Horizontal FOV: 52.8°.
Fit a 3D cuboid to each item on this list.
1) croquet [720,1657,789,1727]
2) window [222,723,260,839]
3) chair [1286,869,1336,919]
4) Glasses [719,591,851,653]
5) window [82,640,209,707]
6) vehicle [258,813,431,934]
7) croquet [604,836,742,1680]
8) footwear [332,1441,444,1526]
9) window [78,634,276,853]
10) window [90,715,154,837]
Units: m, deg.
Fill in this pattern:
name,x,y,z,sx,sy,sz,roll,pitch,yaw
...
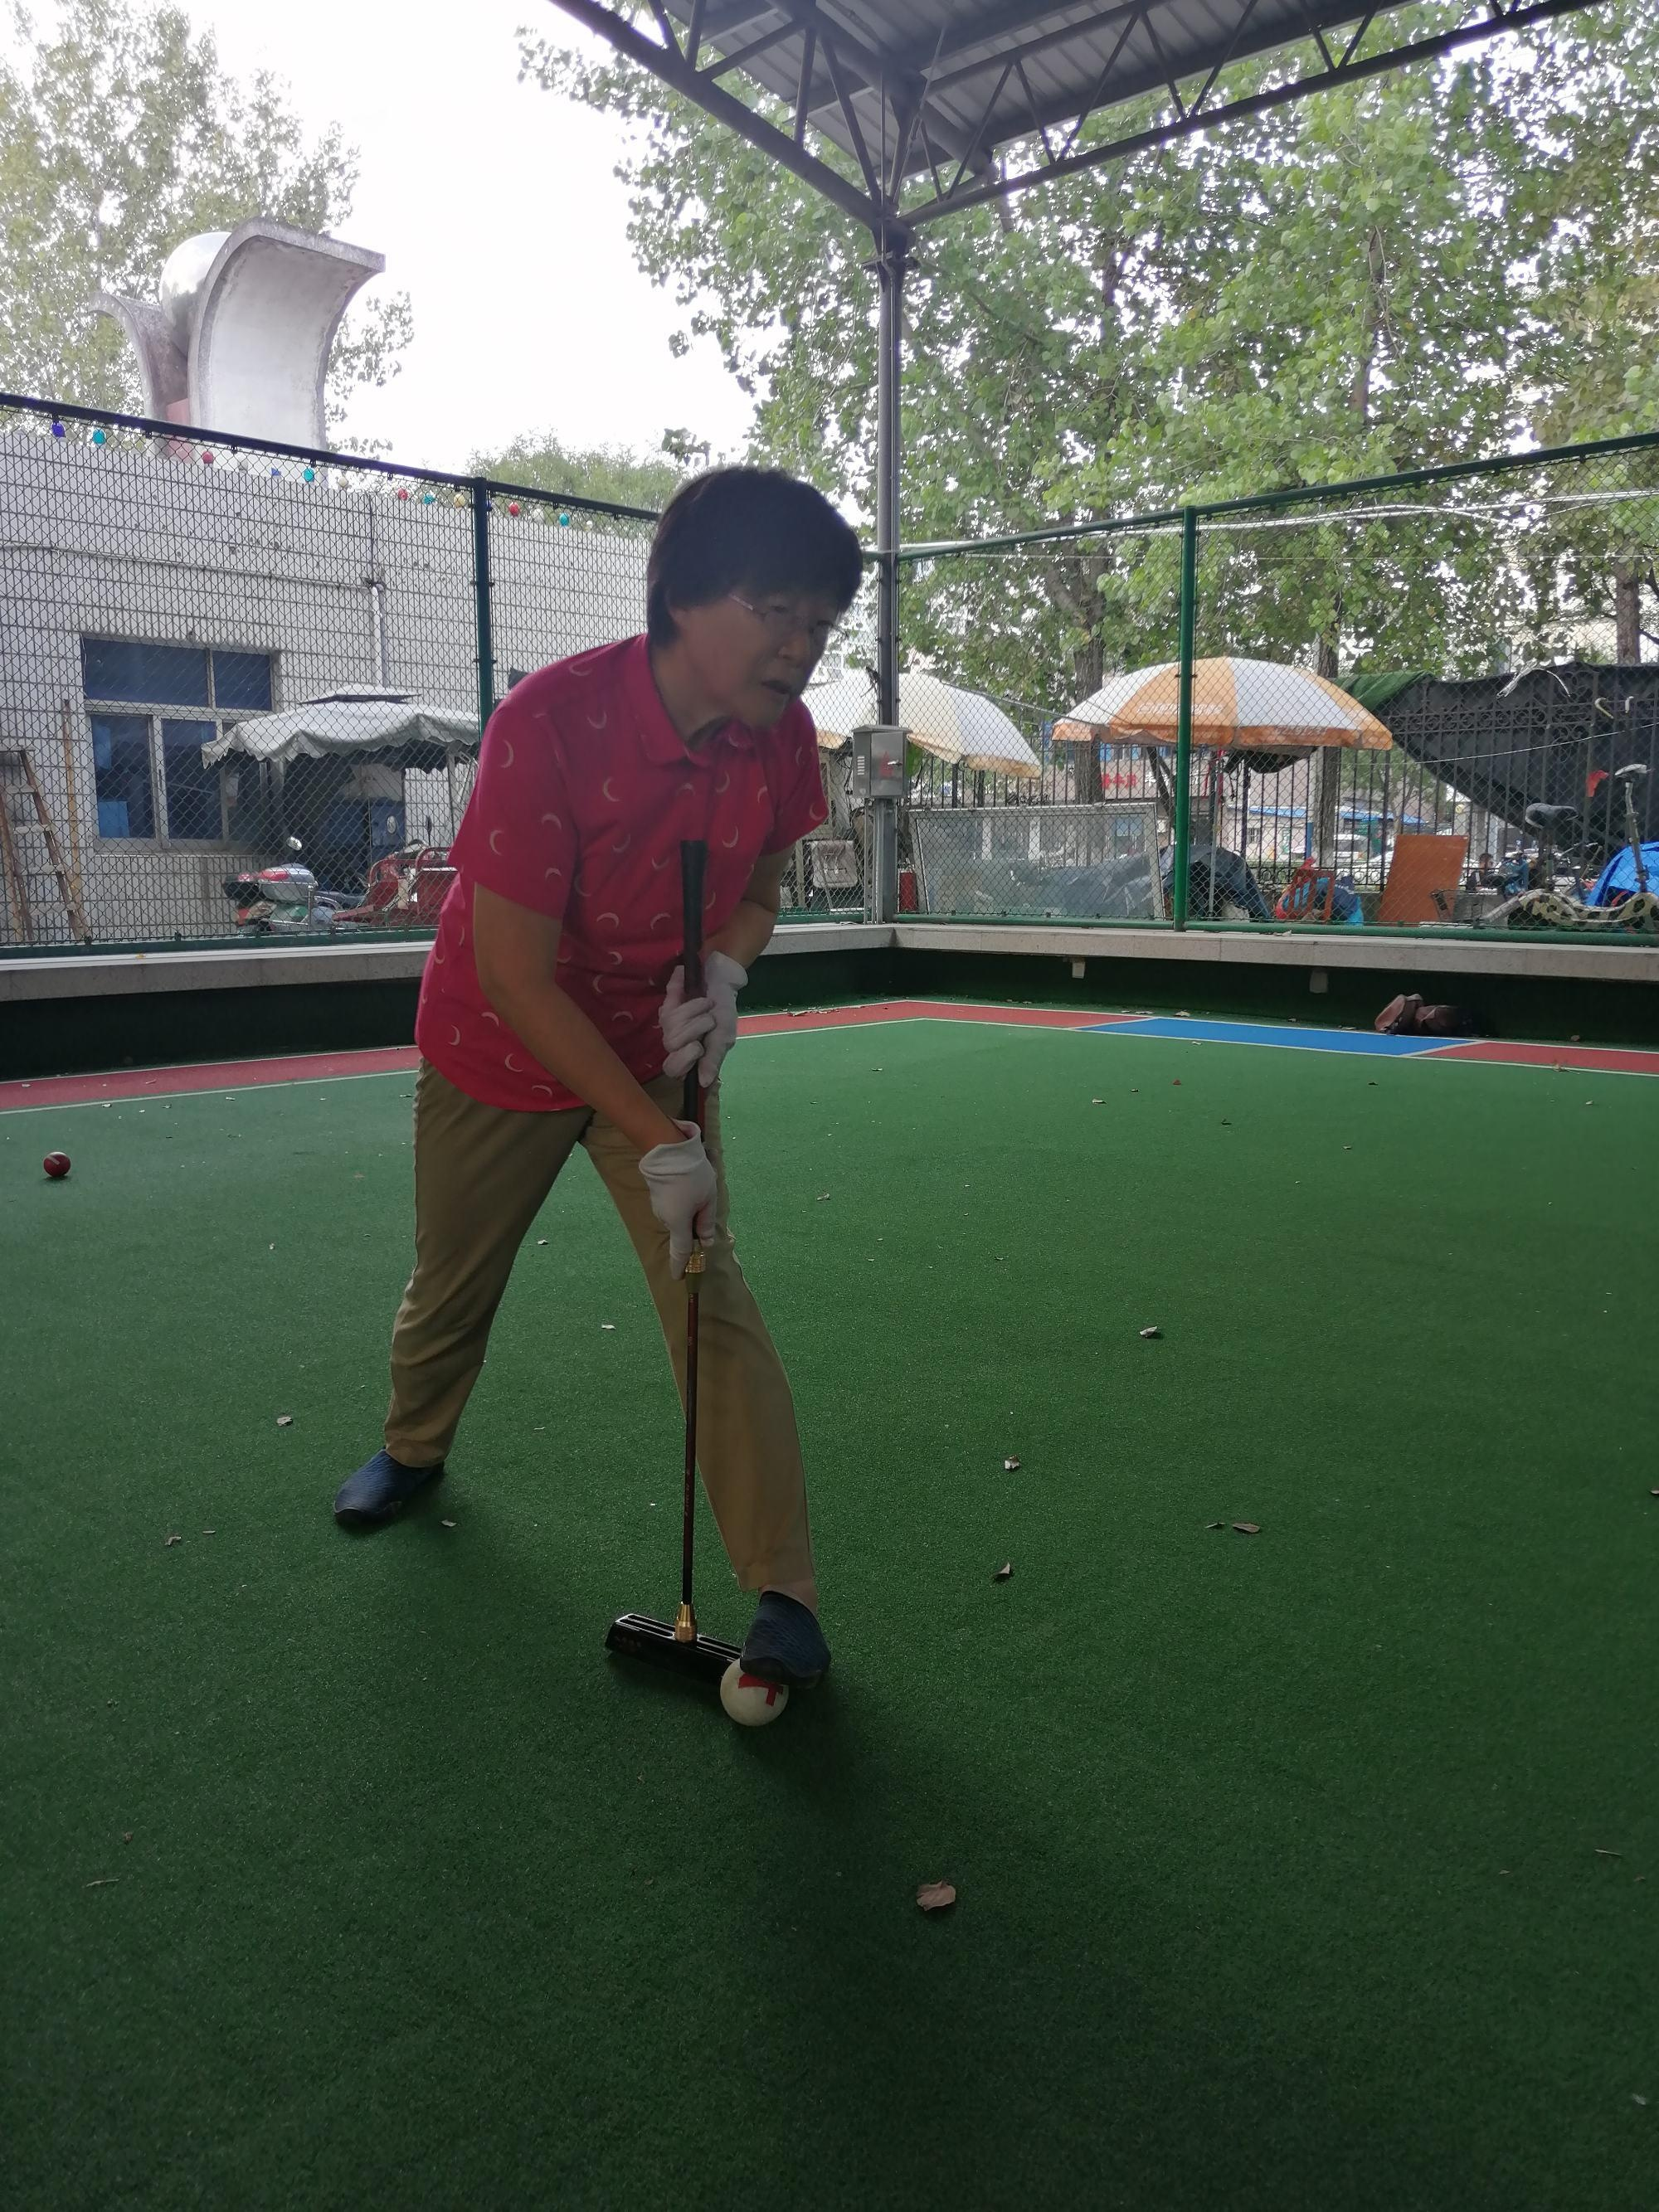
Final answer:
name,x,y,z,sx,sy,sz,roll,pitch,yaw
croquet,-0.077,0.635,1.824,0.057,0.058,0.067,24,58,35
window,-2.654,-1.442,7.565,0.122,0.497,0.494,4,2,-25
chair,2.522,-1.111,8.710,0.233,0.365,0.205,5,-1,35
Glasses,-0.044,-0.515,1.766,0.066,0.020,0.063,37,28,33
window,-3.030,-1.919,7.369,0.558,0.219,0.012,2,42,-50
vehicle,-2.247,-0.999,7.808,0.675,0.384,0.321,-17,20,-24
croquet,-0.202,0.164,1.932,0.145,0.927,0.398,-2,10,-8
footwear,-0.622,0.532,2.343,0.058,0.064,0.160,12,5,14
window,-2.858,-1.600,7.320,1.092,1.124,0.123,-3,3,-38
window,-3.073,-1.455,7.289,0.238,0.558,1.335,-4,10,-21
